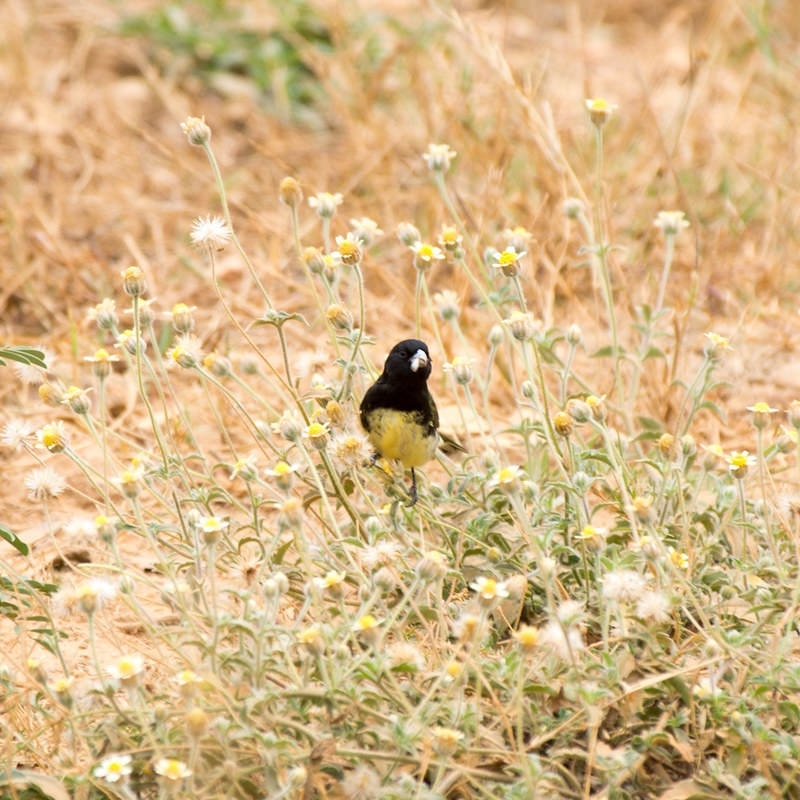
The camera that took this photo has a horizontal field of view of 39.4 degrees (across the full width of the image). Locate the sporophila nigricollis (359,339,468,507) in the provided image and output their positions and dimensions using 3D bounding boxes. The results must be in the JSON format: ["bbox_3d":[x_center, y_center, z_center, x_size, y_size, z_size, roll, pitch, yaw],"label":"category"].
[{"bbox_3d":[0.046,0.081,4.764,0.329,1.075,0.568,11,87,11],"label":"sporophila nigricollis"}]
